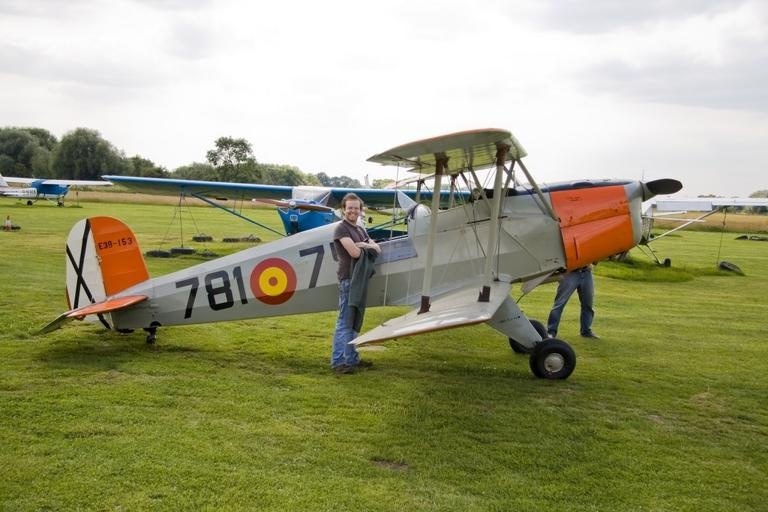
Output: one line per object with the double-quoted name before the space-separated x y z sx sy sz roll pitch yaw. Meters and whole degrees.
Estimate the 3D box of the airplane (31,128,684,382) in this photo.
"airplane" 0.040 0.117 7.532 5.174 1.639 5.026 -1 7 -4

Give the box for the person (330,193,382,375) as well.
"person" -0.433 0.361 7.675 0.654 2.409 0.535 2 6 24

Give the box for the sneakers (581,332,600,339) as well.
"sneakers" 3.478 1.347 9.612 0.329 0.122 0.103 0 7 3

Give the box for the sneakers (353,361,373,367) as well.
"sneakers" -0.284 1.500 7.934 0.272 0.095 0.090 -4 8 -18

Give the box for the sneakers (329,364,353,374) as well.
"sneakers" -0.554 1.529 7.641 0.231 0.077 0.124 -2 3 12
